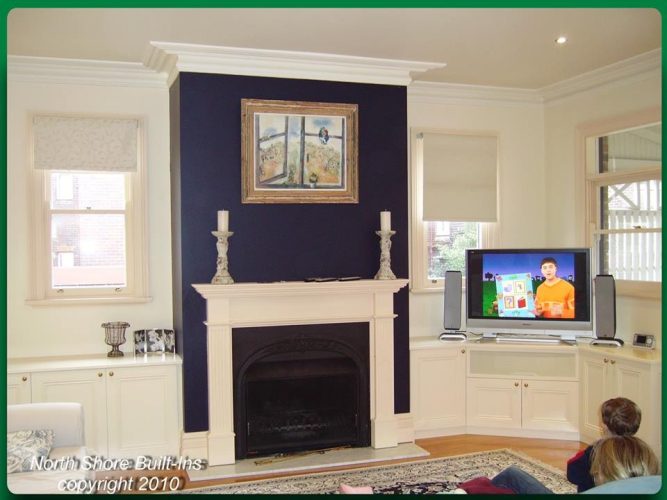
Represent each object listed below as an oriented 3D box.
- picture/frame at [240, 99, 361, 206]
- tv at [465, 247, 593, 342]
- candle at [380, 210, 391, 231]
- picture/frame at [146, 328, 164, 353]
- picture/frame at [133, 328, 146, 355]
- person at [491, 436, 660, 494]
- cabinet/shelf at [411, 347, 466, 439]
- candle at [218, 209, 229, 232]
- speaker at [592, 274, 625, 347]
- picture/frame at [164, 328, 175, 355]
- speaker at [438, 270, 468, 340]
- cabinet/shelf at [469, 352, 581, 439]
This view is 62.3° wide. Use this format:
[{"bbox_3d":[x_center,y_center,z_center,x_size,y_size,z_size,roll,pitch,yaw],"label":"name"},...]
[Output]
[{"bbox_3d":[-0.338,-0.865,4.836,1.006,0.812,0.081,0,3,-10],"label":"picture/frame"},{"bbox_3d":[1.940,0.433,5.344,0.942,0.667,0.044,0,-2,11],"label":"tv"},{"bbox_3d":[0.477,-0.263,4.931,0.095,0.173,0.254,0,3,5],"label":"candle"},{"bbox_3d":[-1.611,0.824,4.983,0.206,0.269,0.021,1,-10,-27],"label":"picture/frame"},{"bbox_3d":[-1.721,0.819,4.933,0.100,0.200,0.094,-1,3,-19],"label":"picture/frame"},{"bbox_3d":[1.430,1.267,3.290,0.531,0.218,0.727,1,-6,-34],"label":"person"},{"bbox_3d":[1.145,1.426,5.398,0.573,0.815,0.478,-15,-32,35],"label":"cabinet/shelf"},{"bbox_3d":[-0.897,-0.241,4.518,0.079,0.172,0.091,-1,3,-4],"label":"candle"},{"bbox_3d":[2.591,0.546,5.185,0.248,0.634,0.382,1,3,28],"label":"speaker"},{"bbox_3d":[-1.479,0.821,5.012,0.102,0.201,0.116,-1,3,-18],"label":"picture/frame"},{"bbox_3d":[1.203,0.533,5.533,0.242,0.657,0.493,0,3,12],"label":"speaker"},{"bbox_3d":[1.852,1.380,5.191,0.830,0.665,0.319,0,-4,8],"label":"cabinet/shelf"}]
